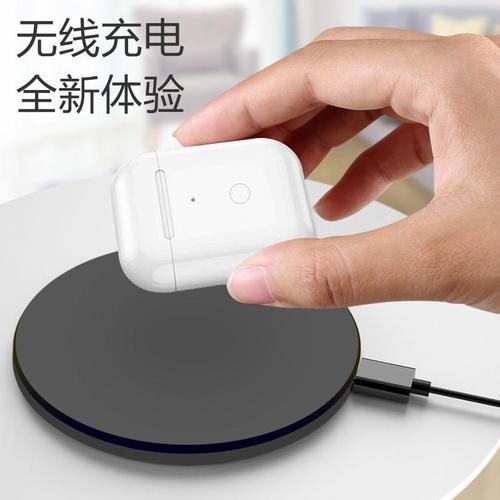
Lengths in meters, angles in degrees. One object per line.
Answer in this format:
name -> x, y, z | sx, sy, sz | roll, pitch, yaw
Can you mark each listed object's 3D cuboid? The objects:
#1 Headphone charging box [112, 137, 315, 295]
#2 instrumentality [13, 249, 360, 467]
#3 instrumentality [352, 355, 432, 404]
Headphone charging box -> -0.039, -0.041, 0.530 | 0.202, 0.135, 0.058 | -6, -11, -11
instrumentality -> -0.083, 0.108, 0.588 | 0.376, 0.081, 0.279 | 7, 32, 23
instrumentality -> 0.152, 0.141, 0.568 | 0.076, 0.018, 0.037 | 8, 35, 6
